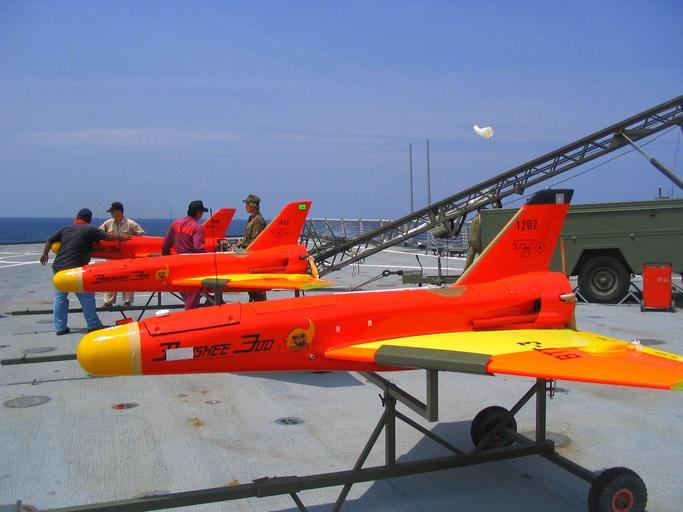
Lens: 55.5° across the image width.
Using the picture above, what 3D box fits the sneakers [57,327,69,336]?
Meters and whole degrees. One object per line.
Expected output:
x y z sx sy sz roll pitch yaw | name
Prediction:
-5.709 1.554 13.284 0.161 0.138 0.371 -1 -9 -27 | sneakers

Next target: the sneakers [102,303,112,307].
-5.791 1.239 16.031 0.110 0.084 0.155 1 -5 9 | sneakers
